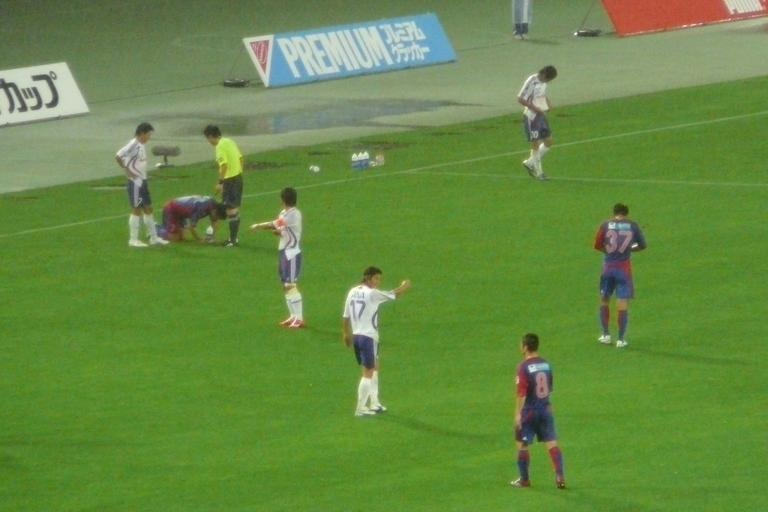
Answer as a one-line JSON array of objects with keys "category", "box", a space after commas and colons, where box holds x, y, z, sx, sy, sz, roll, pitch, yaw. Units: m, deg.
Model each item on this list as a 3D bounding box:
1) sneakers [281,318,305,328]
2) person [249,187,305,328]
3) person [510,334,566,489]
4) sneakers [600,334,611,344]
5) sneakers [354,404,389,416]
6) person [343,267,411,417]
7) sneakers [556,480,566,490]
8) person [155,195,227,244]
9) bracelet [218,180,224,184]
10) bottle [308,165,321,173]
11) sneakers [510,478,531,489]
[{"category": "sneakers", "box": [-1.983, 1.448, 30.405, 0.393, 0.156, 0.227, 4, -3, -19]}, {"category": "person", "box": [-2.135, 0.042, 30.033, 0.784, 2.975, 1.126, -3, -2, -1]}, {"category": "person", "box": [2.765, 2.877, 25.977, 0.982, 2.049, 0.674, -4, -2, 4]}, {"category": "sneakers", "box": [4.682, 1.747, 29.630, 0.342, 0.241, 0.119, 2, 9, 32]}, {"category": "sneakers", "box": [-0.250, 3.045, 27.659, 0.636, 0.271, 0.219, -5, 3, 8]}, {"category": "person", "box": [-0.288, 1.676, 27.600, 0.996, 2.908, 1.042, -3, -2, -18]}, {"category": "sneakers", "box": [3.255, 4.215, 25.920, 0.135, 0.186, 0.192, 1, 13, -2]}, {"category": "person", "box": [-4.671, -0.959, 34.380, 1.725, 0.962, 0.972, 0, 12, 18]}, {"category": "bracelet", "box": [-3.876, -1.784, 33.243, 0.061, 0.091, 0.097, 40, 35, 28]}, {"category": "bottle", "box": [-1.979, -2.504, 39.732, 0.182, 0.165, 0.297, 1, 9, -14]}, {"category": "sneakers", "box": [2.534, 4.229, 26.046, 0.354, 0.153, 0.145, 5, 12, 31]}]
